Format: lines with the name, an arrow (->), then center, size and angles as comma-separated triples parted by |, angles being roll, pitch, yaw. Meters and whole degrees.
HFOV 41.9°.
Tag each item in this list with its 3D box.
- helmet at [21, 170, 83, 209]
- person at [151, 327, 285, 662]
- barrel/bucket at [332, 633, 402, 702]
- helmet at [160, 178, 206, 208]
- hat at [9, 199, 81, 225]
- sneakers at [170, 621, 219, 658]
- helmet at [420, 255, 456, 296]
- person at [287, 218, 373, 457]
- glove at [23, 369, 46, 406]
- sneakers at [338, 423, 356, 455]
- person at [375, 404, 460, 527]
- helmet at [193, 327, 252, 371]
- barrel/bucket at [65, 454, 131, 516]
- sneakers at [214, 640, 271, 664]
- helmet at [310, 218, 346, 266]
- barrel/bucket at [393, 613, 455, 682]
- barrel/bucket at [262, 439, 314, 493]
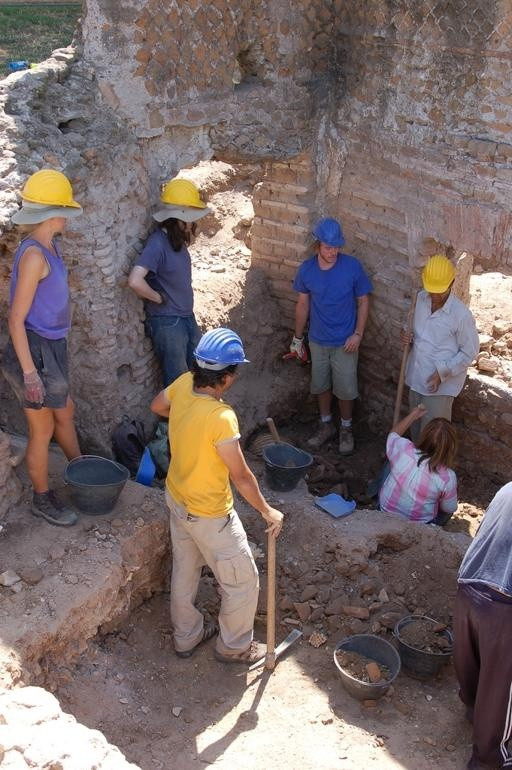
helmet -> -0.896, -0.877, 2.952 | 0.173, 0.116, 0.215 | 21, 28, 26
person -> -0.195, 0.577, 3.120 | 0.390, 1.690, 0.551 | -17, 26, -37
barrel/bucket -> 0.524, 1.356, 3.190 | 0.322, 0.199, 0.386 | 3, 19, 9
helmet -> -0.442, -1.168, 4.075 | 0.263, 0.131, 0.193 | 4, 29, 0
hat -> -0.929, -0.755, 2.929 | 0.183, 0.051, 0.147 | -11, 27, -24
sneakers -> -0.306, 1.308, 3.423 | 0.087, 0.100, 0.255 | 31, 54, 23
helmet -> 1.207, -0.740, 4.432 | 0.202, 0.144, 0.264 | 8, 68, 25
person -> 0.626, -0.353, 5.445 | 0.632, 1.986, 0.629 | -11, 23, -27
glove -> -0.972, 0.015, 2.942 | 0.103, 0.132, 0.065 | -15, 14, -12
sneakers -> 0.770, 0.471, 5.741 | 0.105, 0.116, 0.291 | 0, 40, 8
person -> 1.081, 0.554, 4.395 | 0.457, 0.830, 0.476 | 30, 75, 10
helmet -> -0.147, -0.142, 2.896 | 0.177, 0.132, 0.223 | 22, 35, 34
barrel/bucket -> -0.821, 0.496, 3.425 | 0.334, 0.204, 0.312 | 3, 22, -1
sneakers -> -0.065, 1.328, 3.374 | 0.276, 0.110, 0.095 | -5, 36, -5
helmet -> 0.536, -1.097, 4.966 | 0.269, 0.198, 0.346 | -3, 59, -10
barrel/bucket -> 0.828, 1.281, 3.335 | 0.282, 0.179, 0.271 | 0, 27, 0
barrel/bucket -> 0.209, 0.581, 4.742 | 0.348, 0.223, 0.332 | 2, 31, -1
